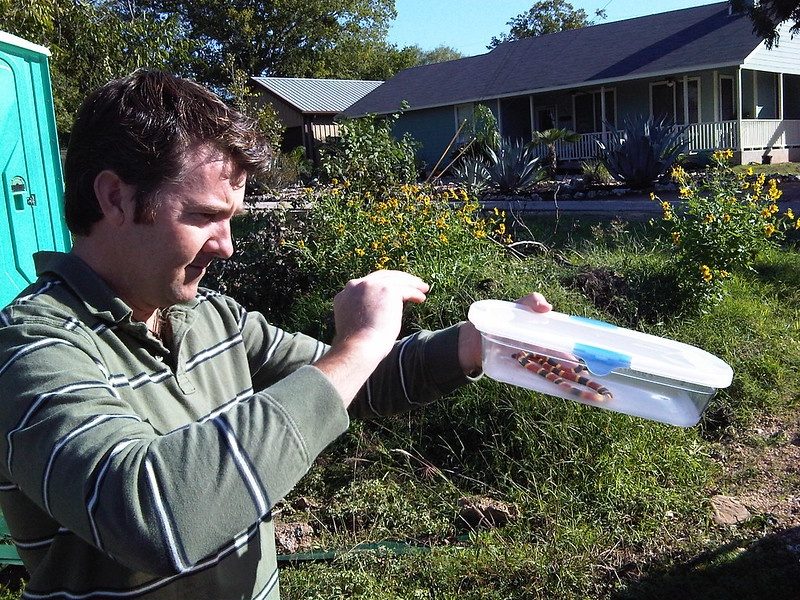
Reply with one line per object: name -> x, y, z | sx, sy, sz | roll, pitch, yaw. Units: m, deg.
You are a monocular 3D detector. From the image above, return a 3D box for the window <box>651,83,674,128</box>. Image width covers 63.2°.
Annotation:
window -> 8.962, -6.678, 22.139 | 0.725, 1.572, 0.063 | 1, -17, 15

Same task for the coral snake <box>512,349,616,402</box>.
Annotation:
coral snake -> 0.478, 0.223, 1.906 | 0.189, 0.036, 0.134 | 31, 29, 20
